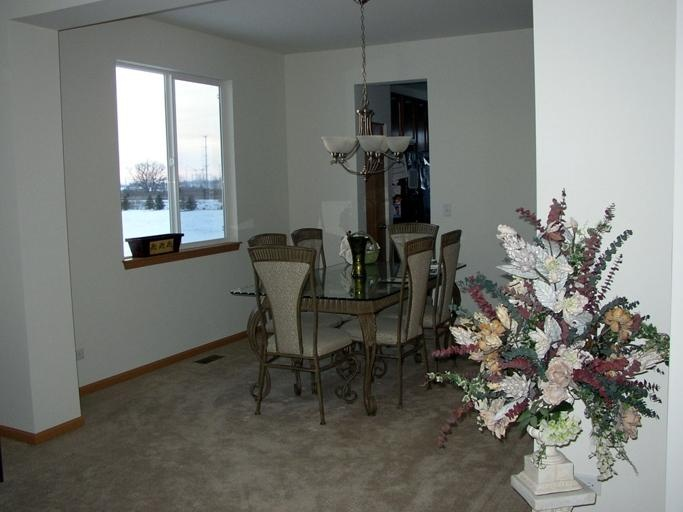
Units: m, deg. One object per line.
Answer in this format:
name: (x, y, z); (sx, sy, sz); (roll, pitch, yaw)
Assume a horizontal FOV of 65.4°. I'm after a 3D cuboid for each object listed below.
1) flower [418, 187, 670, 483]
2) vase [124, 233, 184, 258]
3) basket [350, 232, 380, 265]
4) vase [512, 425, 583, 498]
flower: (0.768, 0.338, 1.860); (0.875, 1.089, 0.596); (-9, 12, -43)
vase: (-1.735, -0.098, 4.937); (0.149, 0.183, 0.510); (5, 11, 38)
basket: (0.216, -0.068, 4.637); (0.284, 0.293, 0.242); (0, 9, 6)
vase: (0.725, 0.700, 1.874); (0.187, 0.220, 0.202); (-8, 9, -17)
